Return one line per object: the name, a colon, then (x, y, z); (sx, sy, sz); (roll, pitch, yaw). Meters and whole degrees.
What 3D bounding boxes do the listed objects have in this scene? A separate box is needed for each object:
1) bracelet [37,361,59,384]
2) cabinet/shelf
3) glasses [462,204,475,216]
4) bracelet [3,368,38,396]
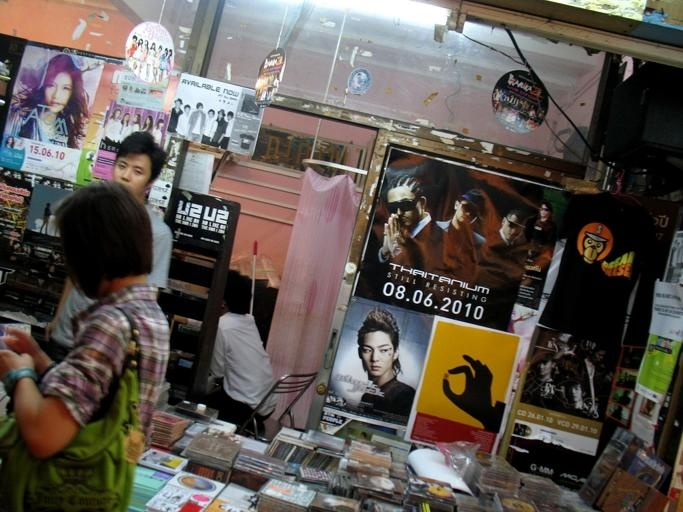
bracelet: (-1.186, 0.470, 2.173); (0.050, 0.065, 0.056); (-20, 58, -27)
cabinet/shelf: (-1.139, 0.245, 4.389); (0.767, 1.527, 0.401); (10, 0, 30)
glasses: (1.055, -0.389, 4.510); (0.066, 0.030, 0.091); (36, -31, 9)
bracelet: (-1.256, 0.489, 2.122); (0.112, 0.045, 0.113); (4, 6, -7)
